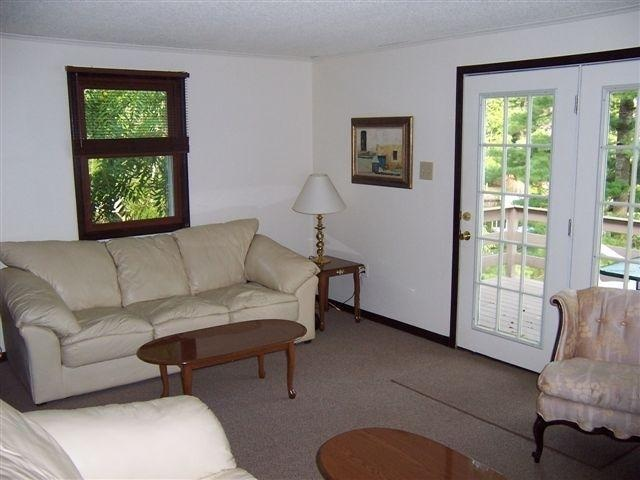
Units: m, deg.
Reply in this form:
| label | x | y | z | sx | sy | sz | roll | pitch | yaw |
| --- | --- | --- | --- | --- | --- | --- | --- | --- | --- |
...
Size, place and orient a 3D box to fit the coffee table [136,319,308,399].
| label | x | y | z | sx | sy | sz | roll | pitch | yaw |
| --- | --- | --- | --- | --- | --- | --- | --- | --- | --- |
| coffee table | -0.688 | 0.959 | 3.774 | 1.196 | 0.573 | 0.532 | -10 | 14 | -28 |

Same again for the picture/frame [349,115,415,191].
| label | x | y | z | sx | sy | sz | roll | pitch | yaw |
| --- | --- | --- | --- | --- | --- | --- | --- | --- | --- |
| picture/frame | 0.635 | -0.883 | 5.080 | 0.059 | 0.714 | 0.766 | -11 | 15 | -41 |

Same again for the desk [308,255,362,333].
| label | x | y | z | sx | sy | sz | roll | pitch | yaw |
| --- | --- | --- | --- | --- | --- | --- | --- | --- | --- |
| desk | 0.176 | 0.529 | 5.224 | 0.577 | 0.777 | 0.666 | -5 | 8 | -42 |

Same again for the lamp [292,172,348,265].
| label | x | y | z | sx | sy | sz | roll | pitch | yaw |
| --- | --- | --- | --- | --- | --- | --- | --- | --- | --- |
| lamp | -0.023 | -0.218 | 5.381 | 0.516 | 0.895 | 0.545 | 15 | 33 | 30 |
